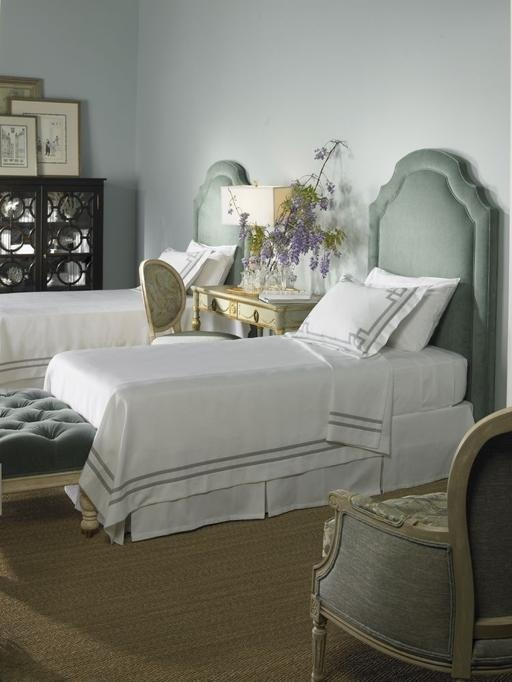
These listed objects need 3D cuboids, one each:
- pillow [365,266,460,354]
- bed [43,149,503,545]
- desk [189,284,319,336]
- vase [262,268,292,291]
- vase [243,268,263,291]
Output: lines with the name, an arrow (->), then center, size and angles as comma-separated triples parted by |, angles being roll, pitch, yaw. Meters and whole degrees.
pillow -> 0.719, -0.156, 2.718 | 0.389, 0.362, 0.107 | 17, -10, 47
bed -> 0.087, -0.152, 2.964 | 2.094, 1.535, 1.355 | -6, 12, -24
desk -> -0.051, -0.101, 3.737 | 0.758, 0.340, 0.315 | 14, 15, 41
vase -> 0.128, -0.380, 3.709 | 0.243, 0.163, 0.132 | 1, 2, 4
vase -> -0.029, -0.389, 3.822 | 0.141, 0.129, 0.137 | 0, 8, -5
